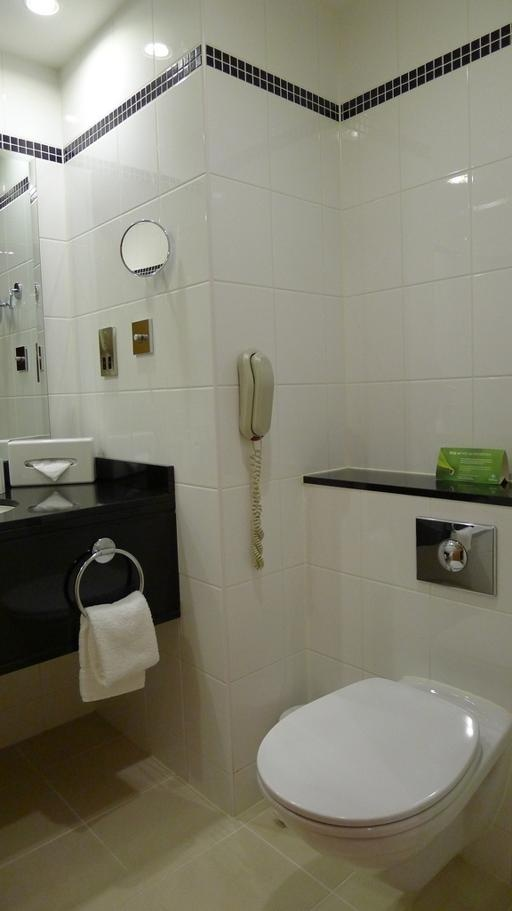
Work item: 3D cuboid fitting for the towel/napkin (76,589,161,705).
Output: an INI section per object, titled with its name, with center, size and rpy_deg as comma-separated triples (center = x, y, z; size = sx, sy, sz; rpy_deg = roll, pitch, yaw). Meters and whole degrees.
[towel/napkin]
center = -0.314, 0.441, 1.407
size = 0.151, 0.256, 0.119
rpy_deg = -9, 15, -40

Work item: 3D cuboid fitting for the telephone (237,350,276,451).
[telephone]
center = -0.002, -0.144, 1.460
size = 0.075, 0.203, 0.069
rpy_deg = -5, 5, -34

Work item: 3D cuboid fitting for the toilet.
[toilet]
center = 0.243, 0.523, 1.127
size = 0.323, 0.329, 0.457
rpy_deg = 8, 28, 39

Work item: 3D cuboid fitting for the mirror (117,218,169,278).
[mirror]
center = -0.276, -0.520, 1.550
size = 0.169, 0.130, 0.038
rpy_deg = 1, 5, 41
